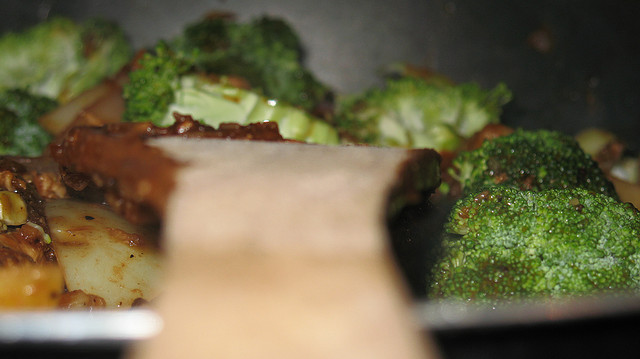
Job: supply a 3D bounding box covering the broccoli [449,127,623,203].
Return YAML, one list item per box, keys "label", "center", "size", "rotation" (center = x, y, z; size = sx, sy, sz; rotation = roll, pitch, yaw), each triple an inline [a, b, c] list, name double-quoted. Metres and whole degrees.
- label: "broccoli"
  center: [0.757, -0.065, 2.149]
  size: [0.474, 0.420, 0.152]
  rotation: [-27, 97, -36]

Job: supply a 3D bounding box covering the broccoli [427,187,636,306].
- label: "broccoli"
  center: [0.634, 0.197, 1.861]
  size: [0.627, 0.105, 0.350]
  rotation: [1, 62, 1]

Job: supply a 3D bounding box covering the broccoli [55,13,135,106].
- label: "broccoli"
  center: [-0.779, -0.419, 2.229]
  size: [0.229, 0.084, 0.347]
  rotation: [45, 65, -7]

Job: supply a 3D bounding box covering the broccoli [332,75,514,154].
- label: "broccoli"
  center: [0.353, -0.223, 2.112]
  size: [0.427, 0.311, 0.139]
  rotation: [-1, 98, 17]

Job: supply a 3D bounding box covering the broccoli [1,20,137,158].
- label: "broccoli"
  center: [-0.958, -0.339, 2.256]
  size: [0.389, 0.133, 0.494]
  rotation: [39, 68, -8]
